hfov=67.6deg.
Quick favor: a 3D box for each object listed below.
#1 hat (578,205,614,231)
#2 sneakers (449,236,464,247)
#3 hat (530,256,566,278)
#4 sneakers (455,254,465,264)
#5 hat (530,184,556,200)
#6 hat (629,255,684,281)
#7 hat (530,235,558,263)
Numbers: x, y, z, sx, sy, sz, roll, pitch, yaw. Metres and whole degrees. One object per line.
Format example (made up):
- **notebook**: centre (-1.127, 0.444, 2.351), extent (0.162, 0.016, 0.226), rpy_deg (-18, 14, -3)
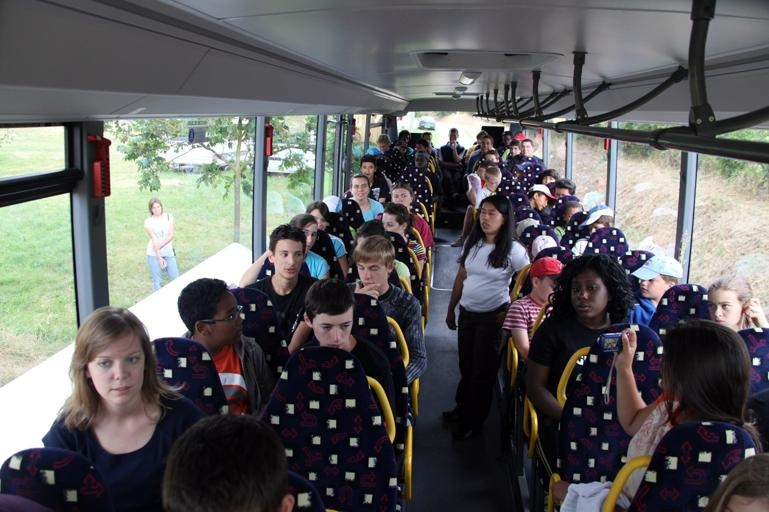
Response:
- **hat**: centre (2.526, -0.448, 6.756), extent (0.395, 0.201, 0.252), rpy_deg (-5, -3, -8)
- **sneakers**: centre (1.502, -0.282, 11.782), extent (0.125, 0.153, 0.370), rpy_deg (-14, 1, 36)
- **hat**: centre (1.314, 0.094, 4.623), extent (0.219, 0.119, 0.146), rpy_deg (-17, -2, 30)
- **sneakers**: centre (0.988, 0.039, 7.572), extent (0.149, 0.069, 0.205), rpy_deg (-24, -2, -3)
- **hat**: centre (2.388, -0.976, 8.635), extent (0.340, 0.171, 0.246), rpy_deg (4, 6, -15)
- **hat**: centre (2.357, 0.098, 4.918), extent (0.326, 0.156, 0.216), rpy_deg (4, -1, 13)
- **hat**: centre (1.680, -0.094, 6.056), extent (0.284, 0.127, 0.323), rpy_deg (-21, 17, 9)
